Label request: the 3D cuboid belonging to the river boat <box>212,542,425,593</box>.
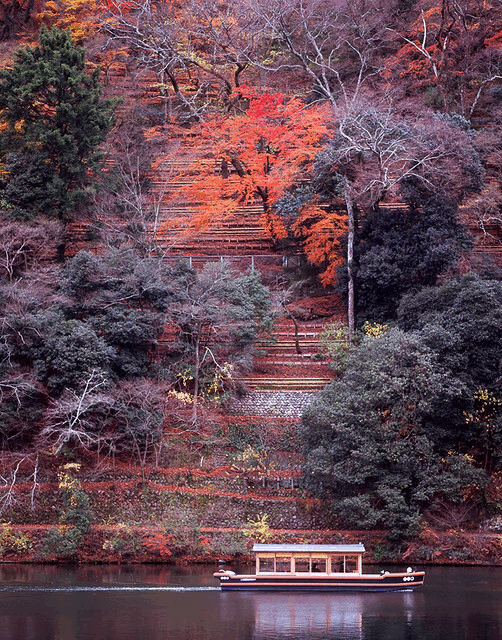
[{"bbox_3d":[2.580,9.907,68.809,8.046,1.808,1.629,-1,-13,4],"label":"river boat"}]
